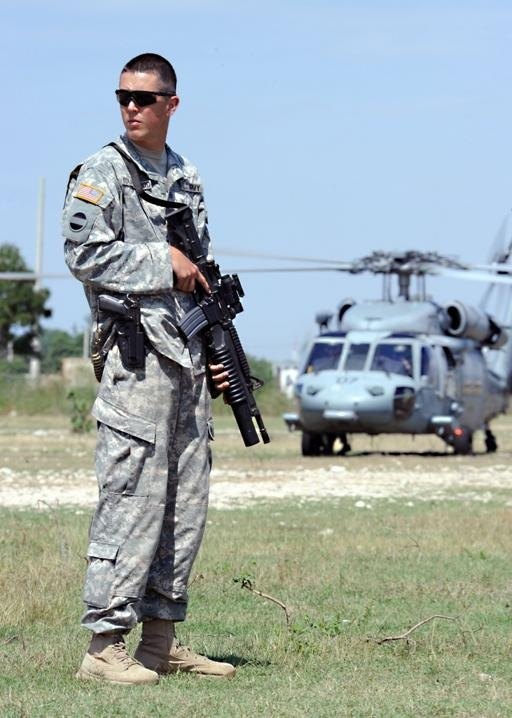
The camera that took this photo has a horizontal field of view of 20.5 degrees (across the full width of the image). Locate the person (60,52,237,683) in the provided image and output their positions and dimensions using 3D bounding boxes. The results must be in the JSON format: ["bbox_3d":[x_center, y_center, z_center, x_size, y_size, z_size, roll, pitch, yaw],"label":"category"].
[{"bbox_3d":[-0.405,0.033,5.109,0.585,2.240,0.607,-3,7,-1],"label":"person"}]

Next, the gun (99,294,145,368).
[{"bbox_3d":[-0.483,-0.095,5.056,0.192,0.265,0.088,3,9,41],"label":"gun"}]

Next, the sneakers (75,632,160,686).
[{"bbox_3d":[-0.516,1.074,5.124,0.354,0.190,0.126,0,-4,18],"label":"sneakers"}]
